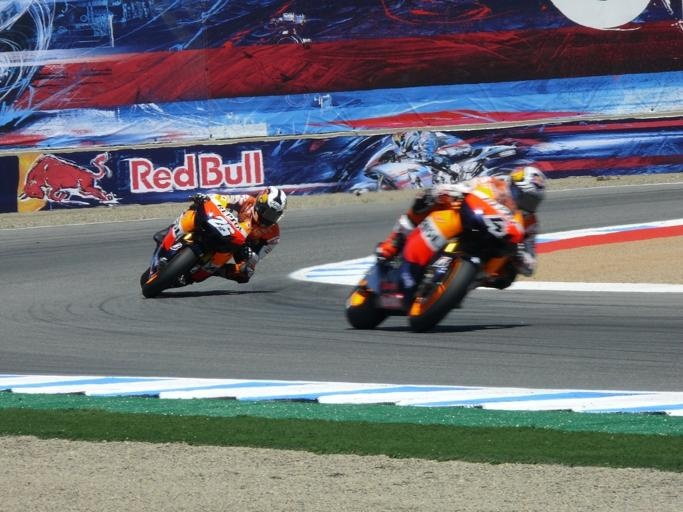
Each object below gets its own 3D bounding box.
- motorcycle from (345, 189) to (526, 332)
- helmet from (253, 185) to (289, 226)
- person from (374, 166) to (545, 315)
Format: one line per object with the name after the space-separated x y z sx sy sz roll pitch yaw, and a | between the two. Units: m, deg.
0.873 0.059 7.264 0.731 1.272 1.110 -4 15 -45 | motorcycle
-0.747 -0.521 9.247 0.304 0.413 0.282 3 11 -17 | helmet
1.174 -0.251 7.844 1.479 0.550 1.940 -13 1 7 | person
